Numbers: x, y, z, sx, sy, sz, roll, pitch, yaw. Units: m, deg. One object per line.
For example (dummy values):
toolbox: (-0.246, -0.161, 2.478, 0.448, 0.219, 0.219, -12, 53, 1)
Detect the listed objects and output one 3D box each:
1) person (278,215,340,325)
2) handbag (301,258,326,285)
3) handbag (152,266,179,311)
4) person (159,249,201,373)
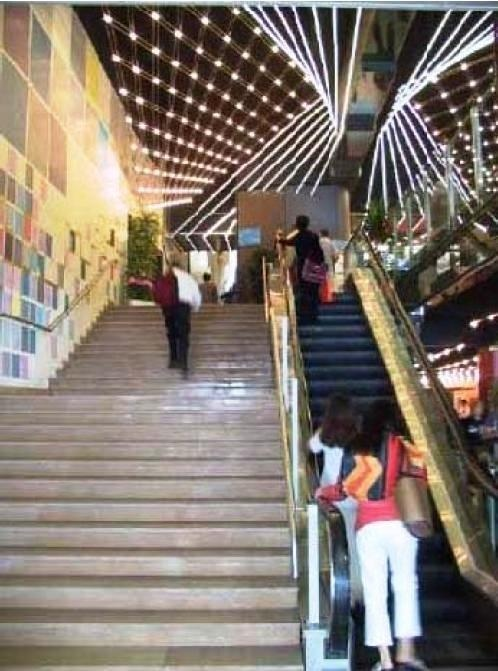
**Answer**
person: (0.828, -0.943, 7.310, 0.605, 1.447, 1.404, 1, 0, 9)
handbag: (0.858, -0.866, 6.651, 0.197, 0.309, 0.097, 10, 8, -14)
handbag: (-1.031, -0.609, 6.216, 0.304, 0.577, 0.169, -17, -25, 34)
person: (-0.920, -0.239, 6.743, 0.479, 1.510, 1.628, 1, 0, -7)
